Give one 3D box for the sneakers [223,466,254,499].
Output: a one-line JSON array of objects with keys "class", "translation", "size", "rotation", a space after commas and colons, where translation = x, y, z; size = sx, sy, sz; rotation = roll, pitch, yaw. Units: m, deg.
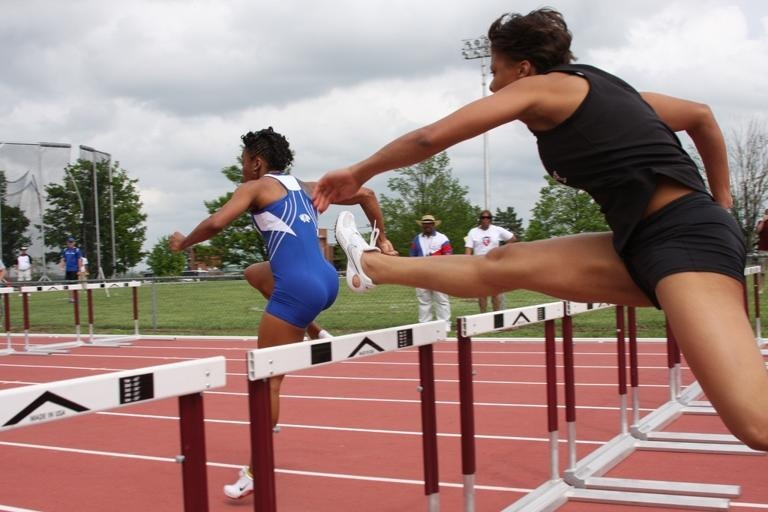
[{"class": "sneakers", "translation": [-0.966, 1.484, 4.762], "size": [0.177, 0.195, 0.376], "rotation": [-2, 0, -14]}]
